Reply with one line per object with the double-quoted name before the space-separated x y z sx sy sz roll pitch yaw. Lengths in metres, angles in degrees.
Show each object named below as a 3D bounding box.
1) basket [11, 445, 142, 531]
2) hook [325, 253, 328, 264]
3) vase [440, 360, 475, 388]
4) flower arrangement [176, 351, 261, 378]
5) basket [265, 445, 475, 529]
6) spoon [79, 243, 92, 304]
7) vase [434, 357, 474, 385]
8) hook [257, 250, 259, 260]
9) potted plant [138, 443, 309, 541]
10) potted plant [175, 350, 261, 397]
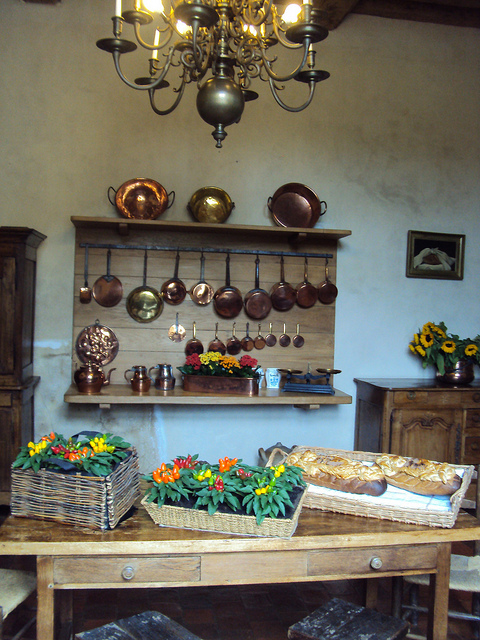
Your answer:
"basket" -0.497 0.501 1.819 0.249 0.103 0.230 1 -5 10
"hook" 0.554 -0.392 3.888 0.017 0.060 0.023 1 1 7
"vase" 1.371 0.339 3.830 0.190 0.123 0.179 0 -7 20
"flower arrangement" -0.122 0.257 3.521 0.462 0.138 0.217 1 0 -5
"basket" 0.386 0.583 1.967 0.592 0.099 0.340 1 3 19
"spoon" -0.913 -0.278 3.605 0.073 0.358 0.083 1 1 -13
"vase" 1.373 0.332 3.892 0.207 0.131 0.189 1 -10 -2
"hook" 0.115 -0.412 3.809 0.009 0.051 0.023 1 1 6
"potted plant" -0.042 0.494 1.790 0.346 0.105 0.274 1 0 10
"potted plant" -0.122 0.309 3.506 0.462 0.242 0.243 1 0 -5
